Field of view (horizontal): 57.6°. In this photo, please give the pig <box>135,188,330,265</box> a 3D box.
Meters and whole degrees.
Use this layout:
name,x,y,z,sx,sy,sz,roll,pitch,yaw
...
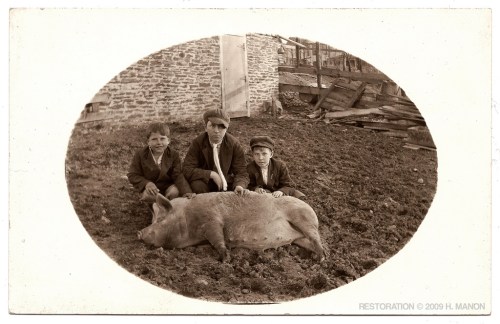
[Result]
name,x,y,z,sx,sy,sz,roll,pitch,yaw
pig,-0.253,0.926,6.786,2.562,0.515,0.923,-1,71,0

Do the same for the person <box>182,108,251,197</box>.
name,x,y,z,sx,sy,sz,roll,pitch,yaw
person,-0.542,-0.037,7.097,0.559,0.784,1.539,-2,94,-30
